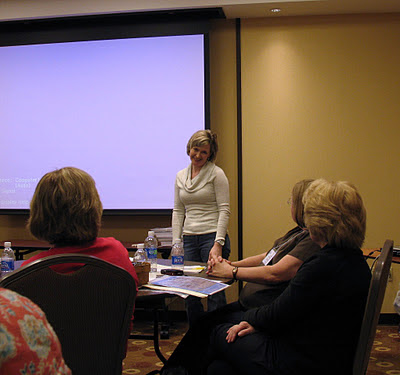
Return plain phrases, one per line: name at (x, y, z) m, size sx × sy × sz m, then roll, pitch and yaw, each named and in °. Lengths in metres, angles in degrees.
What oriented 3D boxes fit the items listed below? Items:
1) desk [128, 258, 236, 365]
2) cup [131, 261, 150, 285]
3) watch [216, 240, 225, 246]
desk at (-0.071, 0.687, 2.015) m, size 0.521 × 0.351 × 0.596 m, roll -1°, pitch 5°, yaw -18°
cup at (-0.258, 0.384, 1.844) m, size 0.093 × 0.100 × 0.096 m, roll 0°, pitch -2°, yaw 0°
watch at (0.140, 0.370, 2.737) m, size 0.034 × 0.030 × 0.044 m, roll 9°, pitch -10°, yaw -42°
